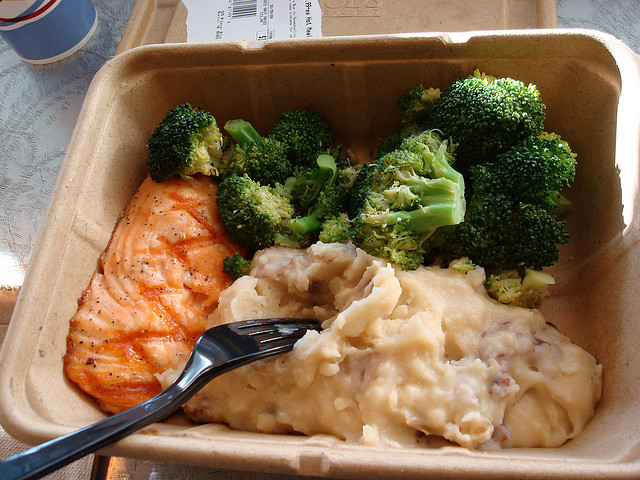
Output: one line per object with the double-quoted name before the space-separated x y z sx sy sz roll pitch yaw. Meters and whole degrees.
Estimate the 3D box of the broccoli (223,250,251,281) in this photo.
"broccoli" -0.449 0.142 3.503 0.131 0.112 0.137 -36 16 -2

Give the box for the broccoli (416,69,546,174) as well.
"broccoli" 0.894 -0.702 3.615 0.642 0.503 0.479 -1 18 2

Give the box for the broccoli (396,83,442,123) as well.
"broccoli" 0.551 -0.768 3.635 0.208 0.208 0.119 -10 23 -4

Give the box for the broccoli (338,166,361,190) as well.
"broccoli" 0.168 -0.345 3.592 0.124 0.132 0.035 3 -9 2

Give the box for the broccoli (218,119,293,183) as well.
"broccoli" -0.390 -0.475 3.711 0.340 0.395 0.234 -46 3 -15

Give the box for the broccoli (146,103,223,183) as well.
"broccoli" -0.719 -0.544 3.550 0.310 0.412 0.457 20 27 39

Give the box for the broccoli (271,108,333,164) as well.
"broccoli" -0.094 -0.588 3.747 0.328 0.276 0.182 -7 -33 -4
